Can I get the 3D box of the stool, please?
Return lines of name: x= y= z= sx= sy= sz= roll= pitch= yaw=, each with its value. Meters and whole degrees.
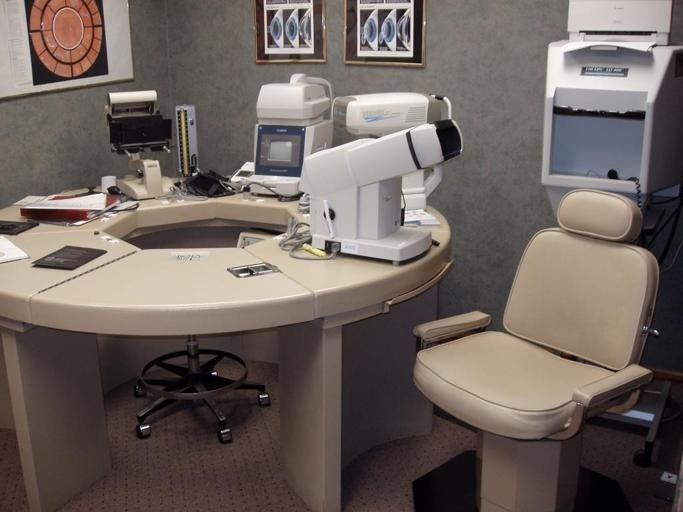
stool: x=-0.850 y=0.684 z=3.339 sx=0.620 sy=0.609 sz=0.619 roll=-9 pitch=29 yaw=-23

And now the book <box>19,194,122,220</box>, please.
book: x=-1.454 y=-0.279 z=3.184 sx=0.264 sy=0.058 sz=0.257 roll=7 pitch=19 yaw=18
